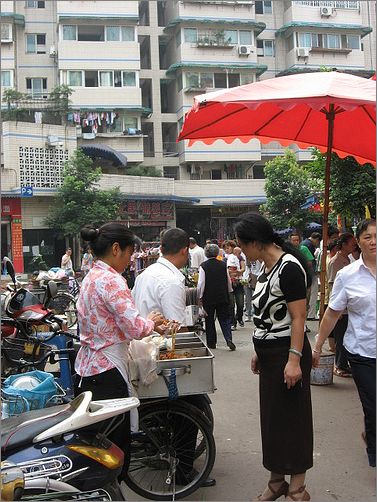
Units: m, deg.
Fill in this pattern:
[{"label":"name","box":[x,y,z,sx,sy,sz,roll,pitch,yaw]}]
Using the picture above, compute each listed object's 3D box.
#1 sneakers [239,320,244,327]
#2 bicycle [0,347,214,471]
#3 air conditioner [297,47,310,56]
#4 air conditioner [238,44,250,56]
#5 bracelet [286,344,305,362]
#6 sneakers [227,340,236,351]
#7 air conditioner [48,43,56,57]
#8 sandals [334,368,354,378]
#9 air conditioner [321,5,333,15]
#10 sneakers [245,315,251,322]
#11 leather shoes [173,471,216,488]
[{"label":"sneakers","box":[0.963,1.259,11.409,0.049,0.129,0.052,-4,10,-3]},{"label":"bicycle","box":[-0.427,1.032,3.653,1.145,0.674,0.564,2,-1,-4]},{"label":"air conditioner","box":[7.468,-12.720,41.780,0.843,0.563,0.468,0,4,1]},{"label":"air conditioner","box":[3.507,-12.346,40.191,0.741,0.554,0.629,-3,3,-7]},{"label":"bracelet","box":[0.565,0.530,3.367,0.073,0.076,0.104,-2,3,10]},{"label":"sneakers","box":[0.605,1.266,8.796,0.071,0.172,0.073,-7,41,-1]},{"label":"air conditioner","box":[-7.870,-11.631,37.819,0.381,0.758,0.551,-3,3,-10]},{"label":"sandals","box":[1.719,1.329,7.140,0.082,0.092,0.234,1,-5,-17]},{"label":"air conditioner","box":[9.059,-15.556,42.232,0.797,0.654,0.273,0,-2,-22]},{"label":"sneakers","box":[1.168,1.290,12.536,0.077,0.087,0.226,2,7,3]},{"label":"leather shoes","box":[0.047,1.385,3.962,0.202,0.070,0.140,5,-7,-6]}]
